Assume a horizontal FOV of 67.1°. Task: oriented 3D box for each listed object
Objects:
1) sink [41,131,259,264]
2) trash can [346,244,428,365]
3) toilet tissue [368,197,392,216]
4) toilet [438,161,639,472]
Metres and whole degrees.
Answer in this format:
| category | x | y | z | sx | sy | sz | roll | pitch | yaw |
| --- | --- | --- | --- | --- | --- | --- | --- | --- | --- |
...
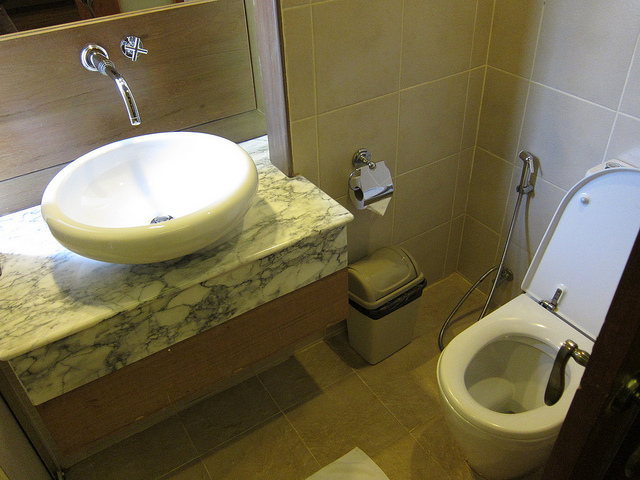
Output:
| category | x | y | z | sx | sy | sz | roll | pitch | yaw |
| --- | --- | --- | --- | --- | --- | --- | --- | --- | --- |
| sink | -0.460 | -0.118 | 1.387 | 0.559 | 0.191 | 0.476 | -29 | 49 | -18 |
| trash can | 0.268 | 0.282 | 2.032 | 0.291 | 0.424 | 0.273 | -24 | 44 | -26 |
| toilet tissue | 0.229 | -0.117 | 1.840 | 0.087 | 0.070 | 0.028 | -18 | 45 | -8 |
| toilet | 0.720 | 0.284 | 1.617 | 0.418 | 0.853 | 0.781 | 29 | 57 | 32 |
